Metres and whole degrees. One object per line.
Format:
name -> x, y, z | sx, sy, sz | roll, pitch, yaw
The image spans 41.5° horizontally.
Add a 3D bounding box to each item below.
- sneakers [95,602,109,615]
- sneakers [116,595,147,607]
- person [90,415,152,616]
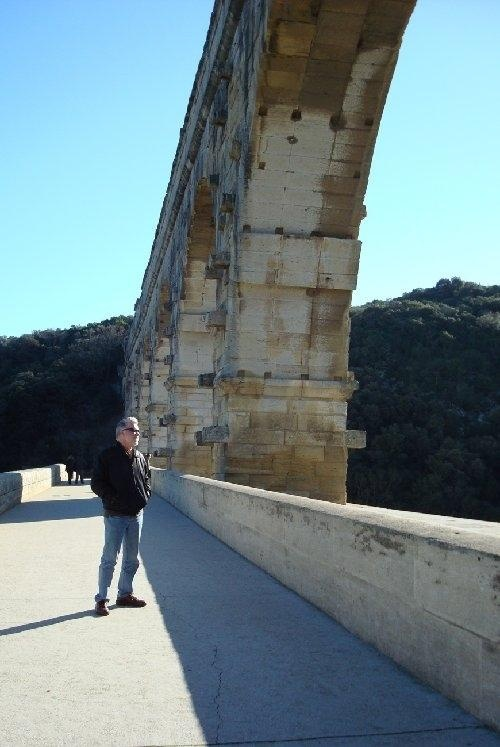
sneakers -> -0.857, 1.376, 3.837 | 0.043, 0.058, 0.133 | 5, -22, -18
sneakers -> -0.724, 1.380, 4.052 | 0.200, 0.096, 0.071 | 1, -1, 3
person -> -0.824, 0.878, 4.172 | 0.354, 1.195, 0.835 | 2, -2, -10
